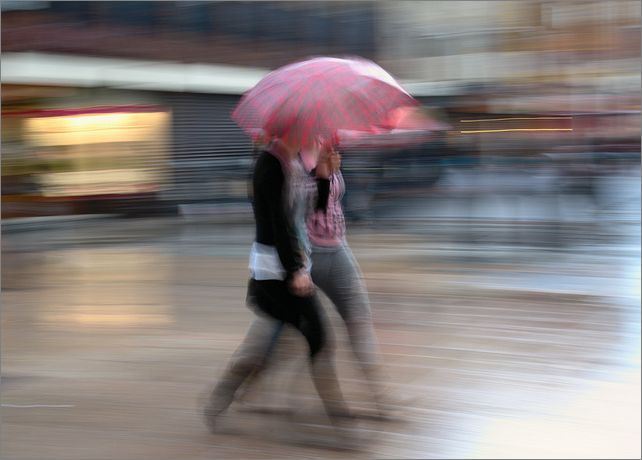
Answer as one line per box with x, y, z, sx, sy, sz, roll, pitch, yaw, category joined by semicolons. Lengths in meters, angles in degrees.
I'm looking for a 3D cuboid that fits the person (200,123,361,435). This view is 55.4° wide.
-0.243;0.262;2.854;0.696;1.465;0.429;-3;21;1;person

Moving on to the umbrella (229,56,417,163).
-0.104;-0.554;2.884;0.763;0.151;0.739;-13;3;-41;umbrella
